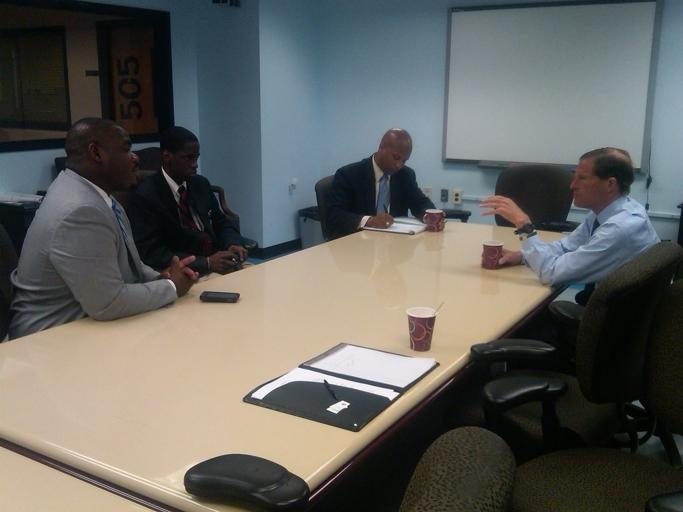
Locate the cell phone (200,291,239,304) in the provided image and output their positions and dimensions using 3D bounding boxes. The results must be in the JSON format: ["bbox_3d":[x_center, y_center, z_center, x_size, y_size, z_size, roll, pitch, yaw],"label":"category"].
[{"bbox_3d":[-0.459,0.154,1.983,0.105,0.024,0.062,3,12,2],"label":"cell phone"}]

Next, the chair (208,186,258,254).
[{"bbox_3d":[-0.781,-0.170,3.464,0.317,0.572,0.313,6,11,34],"label":"chair"}]

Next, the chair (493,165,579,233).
[{"bbox_3d":[1.391,-0.472,3.852,0.468,0.692,0.533,5,10,23],"label":"chair"}]

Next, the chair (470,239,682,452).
[{"bbox_3d":[0.698,0.380,1.624,0.727,0.791,0.330,-10,15,-26],"label":"chair"}]

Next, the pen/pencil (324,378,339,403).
[{"bbox_3d":[-0.027,0.356,1.369,0.018,0.007,0.057,-15,21,-15],"label":"pen/pencil"}]

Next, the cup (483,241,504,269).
[{"bbox_3d":[0.702,0.000,2.483,0.102,0.117,0.107,1,6,0],"label":"cup"}]

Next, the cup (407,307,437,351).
[{"bbox_3d":[0.248,0.230,1.631,0.099,0.119,0.110,1,8,-5],"label":"cup"}]

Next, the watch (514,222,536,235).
[{"bbox_3d":[0.856,-0.133,2.413,0.069,0.045,0.057,7,15,41],"label":"watch"}]

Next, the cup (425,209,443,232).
[{"bbox_3d":[0.566,-0.213,3.190,0.109,0.106,0.116,-2,8,0],"label":"cup"}]

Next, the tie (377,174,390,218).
[{"bbox_3d":[0.297,-0.444,3.655,0.083,0.367,0.032,-17,56,-8],"label":"tie"}]

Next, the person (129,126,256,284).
[{"bbox_3d":[-0.842,-0.266,3.007,0.621,0.931,0.646,10,18,33],"label":"person"}]
